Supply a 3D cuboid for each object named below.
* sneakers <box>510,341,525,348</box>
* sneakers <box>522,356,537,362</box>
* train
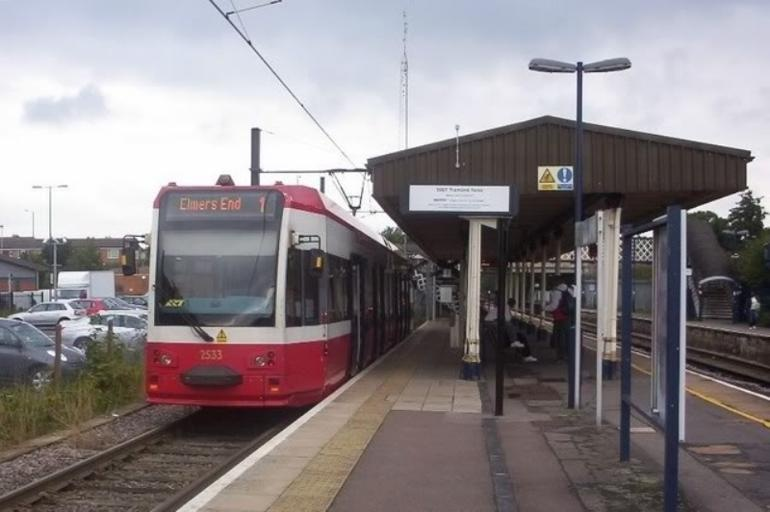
[{"bbox_3d":[3.761,2.576,20.512,0.170,0.159,0.367,3,-7,-39],"label":"sneakers"},{"bbox_3d":[4.285,3.067,21.052,0.447,0.197,0.174,-1,1,10],"label":"sneakers"},{"bbox_3d":[-2.229,0.976,17.899,2.749,4.510,10.242,-1,-3,10],"label":"train"}]
